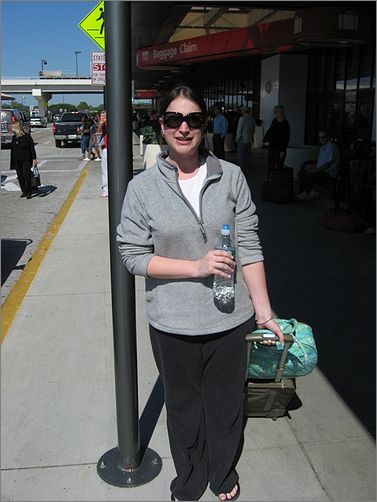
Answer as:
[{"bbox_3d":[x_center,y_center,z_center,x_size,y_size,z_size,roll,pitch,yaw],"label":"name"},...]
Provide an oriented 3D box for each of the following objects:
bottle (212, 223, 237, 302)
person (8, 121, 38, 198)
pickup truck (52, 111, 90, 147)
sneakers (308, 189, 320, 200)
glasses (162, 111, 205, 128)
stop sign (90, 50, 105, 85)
[{"bbox_3d":[0.127,0.070,1.341,0.077,0.326,0.248,1,9,7],"label":"bottle"},{"bbox_3d":[-4.977,-2.722,11.577,0.635,2.251,0.796,-8,12,-44],"label":"person"},{"bbox_3d":[-8.402,-9.117,28.205,2.314,2.240,4.638,-6,11,-31],"label":"pickup truck"},{"bbox_3d":[3.295,-1.519,10.143,0.161,0.206,0.445,-14,17,48],"label":"sneakers"},{"bbox_3d":[-0.018,-0.466,1.367,0.141,0.066,0.070,0,9,-2],"label":"glasses"},{"bbox_3d":[-1.788,-3.715,7.803,0.340,0.626,0.055,3,11,4],"label":"stop sign"}]
